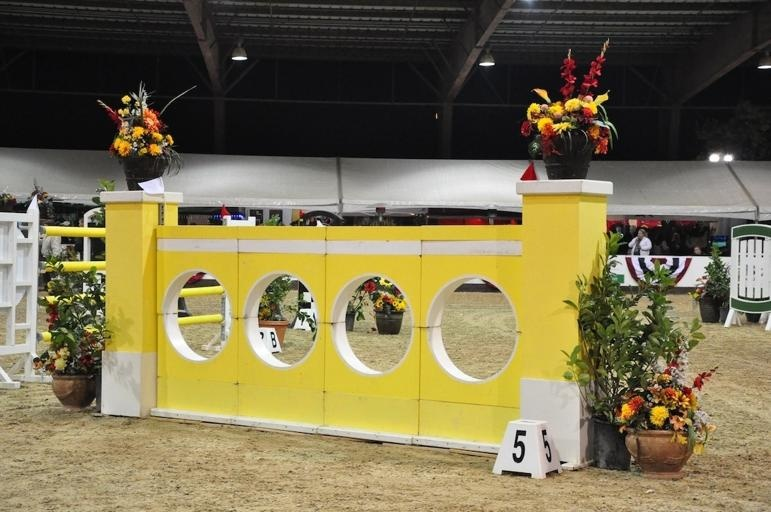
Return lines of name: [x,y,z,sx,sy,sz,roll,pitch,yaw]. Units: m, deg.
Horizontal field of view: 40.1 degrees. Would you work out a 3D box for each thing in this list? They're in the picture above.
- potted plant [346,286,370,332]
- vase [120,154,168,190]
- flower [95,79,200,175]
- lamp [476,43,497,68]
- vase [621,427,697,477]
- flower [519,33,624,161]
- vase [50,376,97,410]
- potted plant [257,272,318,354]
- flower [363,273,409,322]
potted plant: [-0.605,1.048,20.393,0.386,0.733,0.445,10,-11,-22]
vase: [-3.532,-1.172,15.087,0.700,0.560,0.714,1,2,23]
flower: [-3.412,-1.701,14.871,0.910,1.219,0.496,-2,12,-13]
lamp: [2.588,-5.112,27.222,0.611,0.746,0.658,6,13,21]
vase: [3.468,2.429,13.107,0.600,0.433,0.605,0,2,44]
flower: [2.458,-1.978,13.654,1.047,1.363,1.155,9,15,33]
vase: [-4.394,1.917,14.930,0.497,0.399,0.513,-4,-6,37]
potted plant: [-1.935,1.107,18.926,0.535,1.094,0.730,2,-7,40]
flower: [-0.050,0.755,20.067,0.844,0.612,0.736,12,4,-1]
